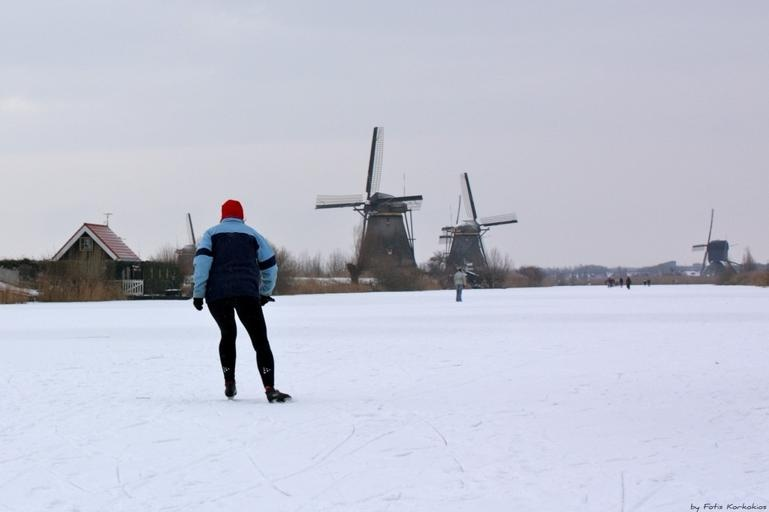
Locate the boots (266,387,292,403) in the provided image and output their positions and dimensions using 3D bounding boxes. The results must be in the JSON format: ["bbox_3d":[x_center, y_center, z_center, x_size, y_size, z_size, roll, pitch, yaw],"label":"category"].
[{"bbox_3d":[-1.239,1.602,10.220,0.262,0.180,0.141,-4,2,10],"label":"boots"}]

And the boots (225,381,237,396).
[{"bbox_3d":[-1.793,1.567,10.328,0.095,0.187,0.192,1,0,-1],"label":"boots"}]

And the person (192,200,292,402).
[{"bbox_3d":[-1.698,0.507,10.259,1.018,2.118,0.514,-1,0,-13],"label":"person"}]
